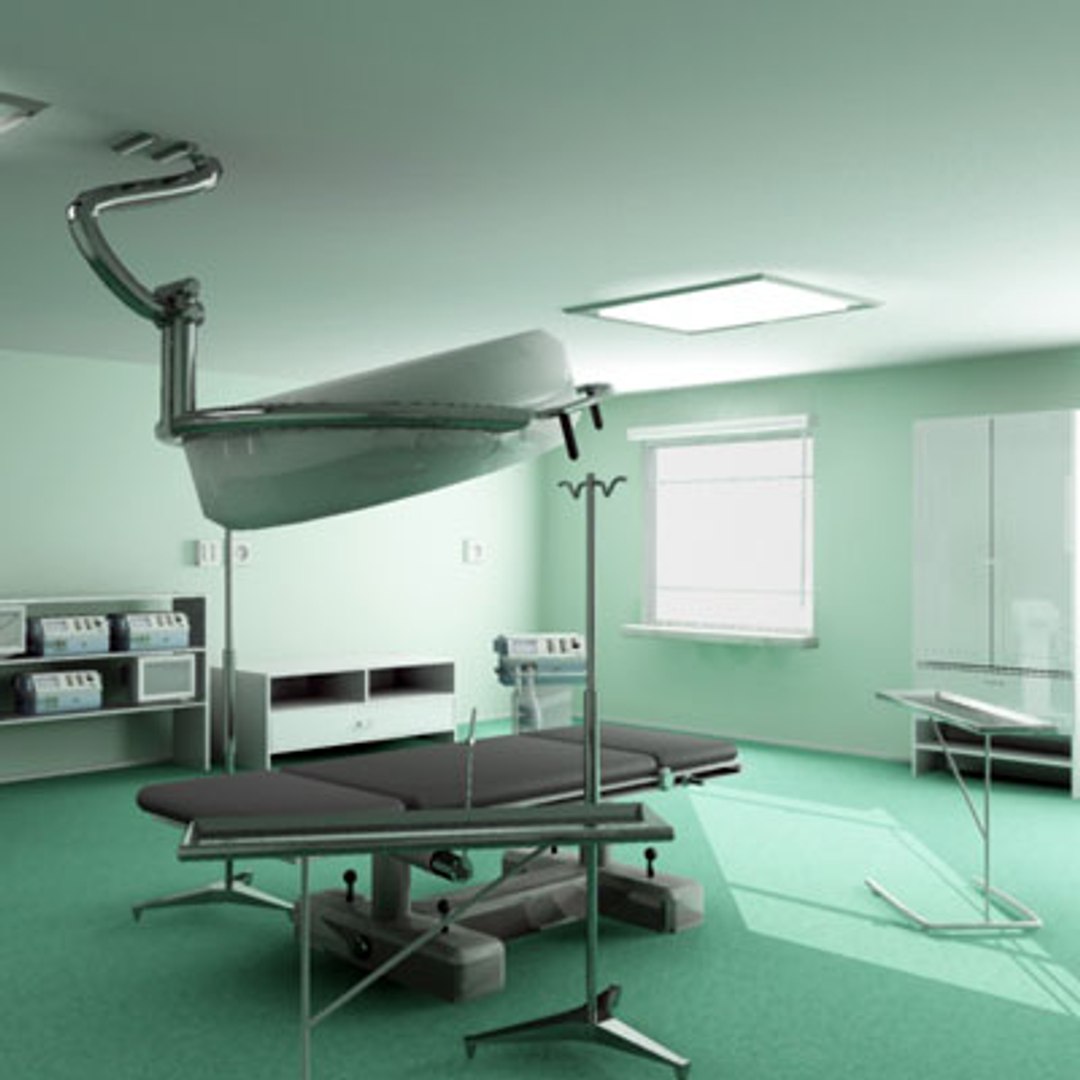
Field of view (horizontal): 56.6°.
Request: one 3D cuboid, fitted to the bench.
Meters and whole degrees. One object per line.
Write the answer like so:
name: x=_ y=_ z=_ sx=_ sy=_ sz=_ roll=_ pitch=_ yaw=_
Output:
bench: x=2.593 y=1.226 z=5.798 sx=0.870 sy=0.454 sz=0.677 roll=-11 pitch=-1 yaw=22
